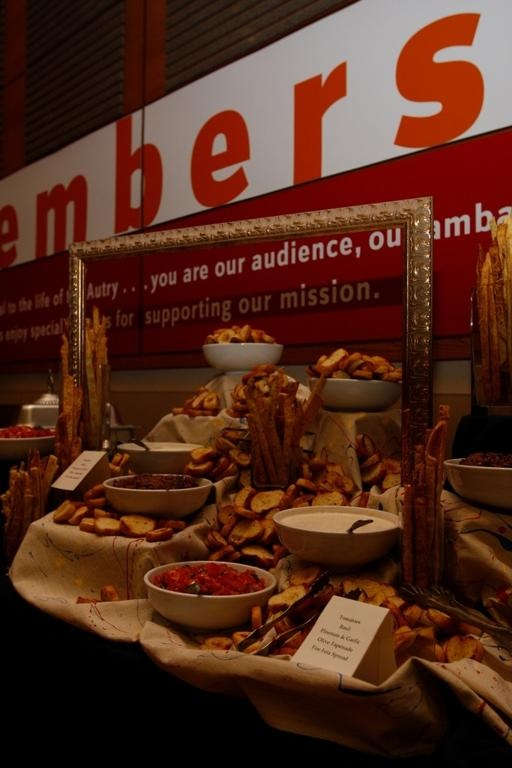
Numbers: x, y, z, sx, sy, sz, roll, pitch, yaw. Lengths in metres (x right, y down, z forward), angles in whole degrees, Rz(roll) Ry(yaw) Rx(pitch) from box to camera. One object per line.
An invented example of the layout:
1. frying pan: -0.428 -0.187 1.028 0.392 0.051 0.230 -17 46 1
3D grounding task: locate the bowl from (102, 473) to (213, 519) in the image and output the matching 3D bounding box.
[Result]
1. bowl: -0.188 0.220 1.081 0.210 0.080 0.143 -4 3 -8

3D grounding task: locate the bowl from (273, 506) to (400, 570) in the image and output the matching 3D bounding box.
1. bowl: 0.118 0.231 0.827 0.182 0.080 0.154 -3 3 17
